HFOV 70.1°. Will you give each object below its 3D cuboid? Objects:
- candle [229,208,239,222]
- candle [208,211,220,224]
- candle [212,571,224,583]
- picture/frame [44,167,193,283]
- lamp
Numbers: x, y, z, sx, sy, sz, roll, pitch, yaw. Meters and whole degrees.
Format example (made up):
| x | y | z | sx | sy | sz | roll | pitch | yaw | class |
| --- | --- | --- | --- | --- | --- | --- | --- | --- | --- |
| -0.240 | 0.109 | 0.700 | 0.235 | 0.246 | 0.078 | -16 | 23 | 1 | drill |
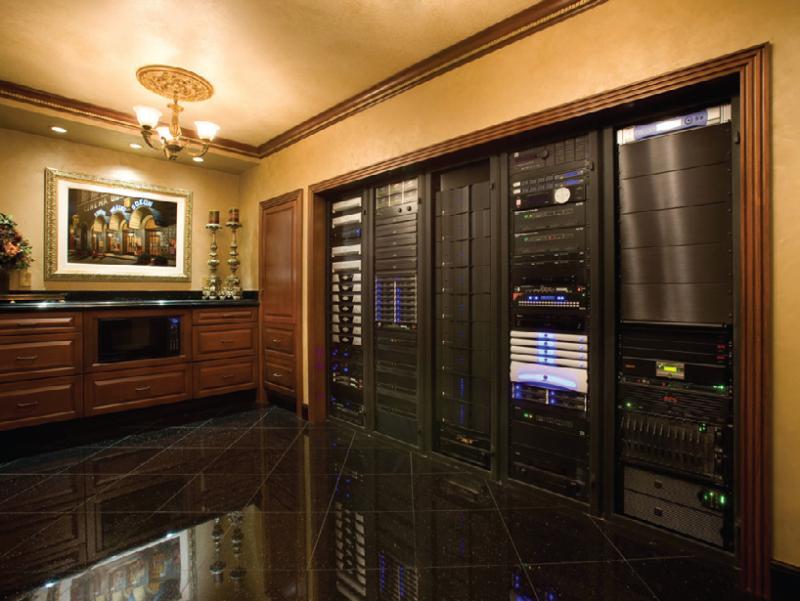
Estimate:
| x | y | z | sx | sy | sz | roll | pitch | yaw | class |
| --- | --- | --- | --- | --- | --- | --- | --- | --- | --- |
| -1.799 | -0.916 | 6.169 | 0.115 | 0.185 | 0.300 | 0 | 1 | -17 | candle |
| -1.976 | -0.873 | 6.068 | 0.129 | 0.182 | 0.313 | 0 | 1 | -19 | candle |
| -0.992 | 1.523 | 3.122 | 0.030 | 0.040 | 0.041 | -4 | -7 | 20 | candle |
| -2.788 | -0.730 | 5.530 | 1.221 | 0.975 | 0.058 | -3 | 5 | -41 | picture/frame |
| -1.792 | -1.439 | 4.590 | 0.666 | 0.635 | 0.644 | 4 | -5 | -21 | lamp |
